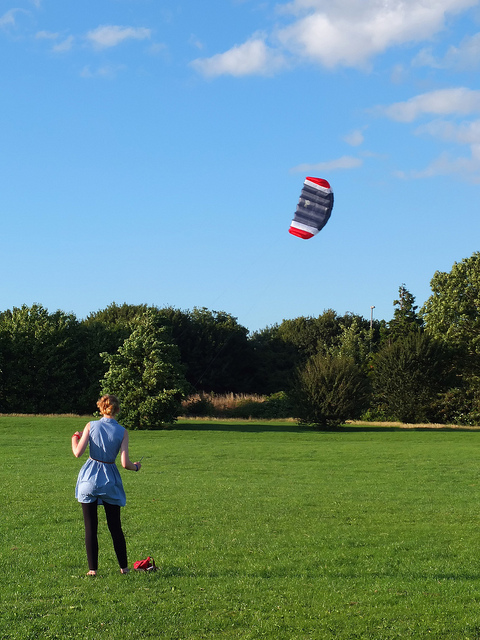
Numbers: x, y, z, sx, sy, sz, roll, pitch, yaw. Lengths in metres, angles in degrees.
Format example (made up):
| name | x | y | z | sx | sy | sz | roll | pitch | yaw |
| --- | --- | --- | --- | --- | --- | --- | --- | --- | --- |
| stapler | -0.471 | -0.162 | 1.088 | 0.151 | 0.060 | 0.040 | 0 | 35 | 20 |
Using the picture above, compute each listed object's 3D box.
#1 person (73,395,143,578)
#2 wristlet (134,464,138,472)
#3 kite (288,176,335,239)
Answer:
| name | x | y | z | sx | sy | sz | roll | pitch | yaw |
| --- | --- | --- | --- | --- | --- | --- | --- | --- | --- |
| person | -1.631 | 1.995 | 10.713 | 0.724 | 2.196 | 0.520 | 0 | -1 | -12 |
| wristlet | -1.234 | 1.750 | 10.672 | 0.035 | 0.061 | 0.087 | 0 | -2 | -2 |
| kite | 2.340 | -3.669 | 29.007 | 1.245 | 1.961 | 0.461 | -1 | -1 | 33 |
